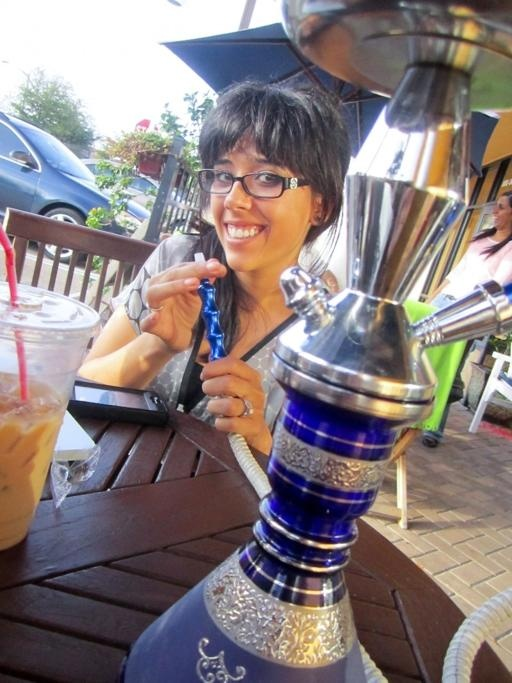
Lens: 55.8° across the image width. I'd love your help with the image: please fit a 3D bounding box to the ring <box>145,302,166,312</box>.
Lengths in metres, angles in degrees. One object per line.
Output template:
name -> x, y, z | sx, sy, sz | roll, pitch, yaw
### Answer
ring -> -0.253, -0.090, 1.222 | 0.051, 0.022, 0.056 | 0, 4, 0
